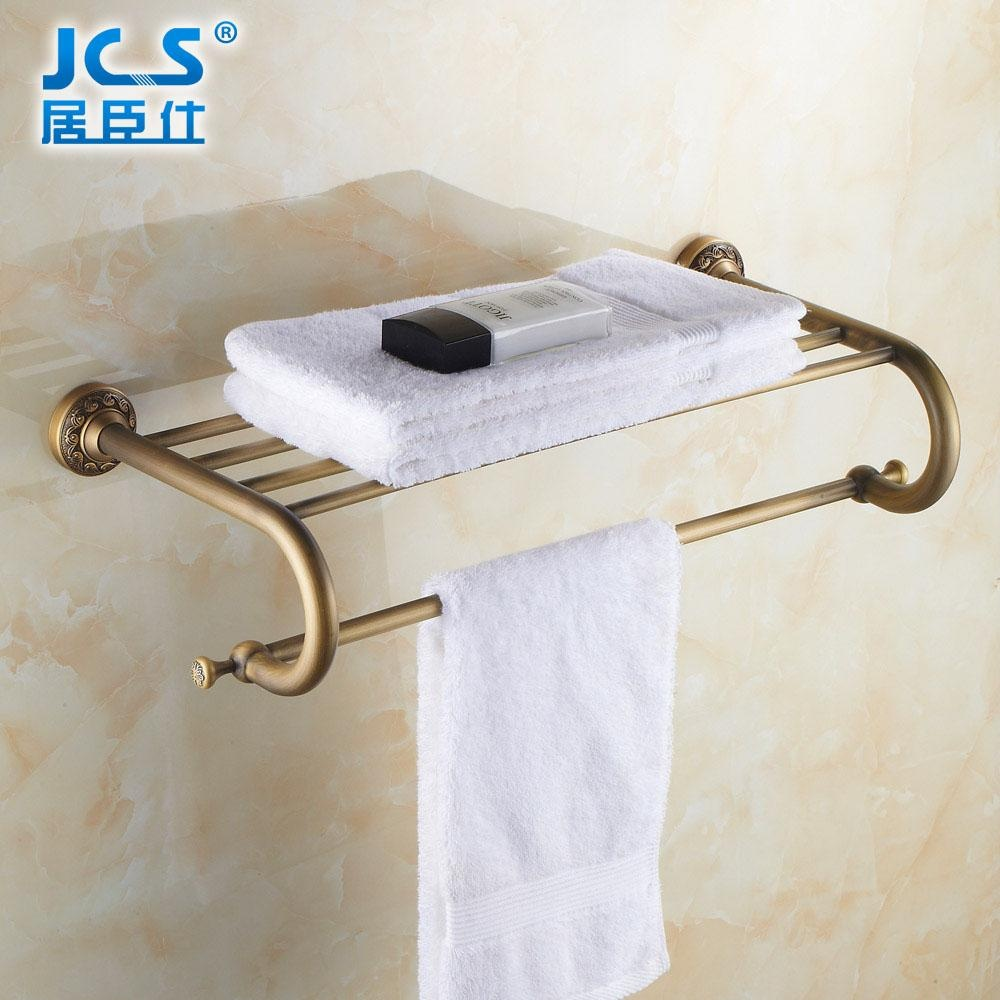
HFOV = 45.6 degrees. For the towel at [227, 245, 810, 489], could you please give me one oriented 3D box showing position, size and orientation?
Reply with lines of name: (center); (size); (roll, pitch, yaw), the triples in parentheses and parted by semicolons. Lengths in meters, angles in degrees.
towel: (0.037, -0.115, 0.758); (0.334, 0.062, 0.183); (-13, 22, -30)
